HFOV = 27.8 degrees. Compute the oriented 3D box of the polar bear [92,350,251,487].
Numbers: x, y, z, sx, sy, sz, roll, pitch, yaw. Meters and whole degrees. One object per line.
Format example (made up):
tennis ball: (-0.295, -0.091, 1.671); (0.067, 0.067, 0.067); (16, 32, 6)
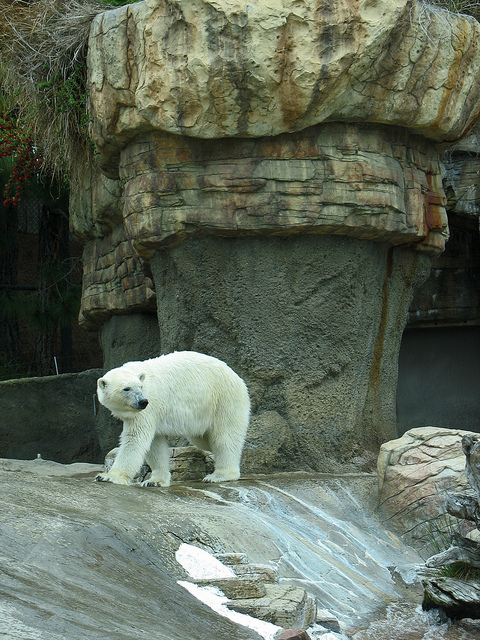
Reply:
polar bear: (-0.503, 0.612, 6.292); (1.160, 0.873, 0.493); (2, -4, -29)
